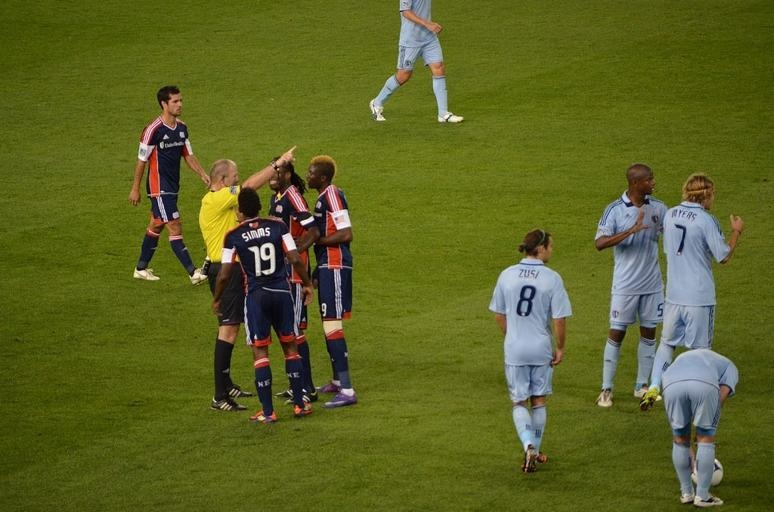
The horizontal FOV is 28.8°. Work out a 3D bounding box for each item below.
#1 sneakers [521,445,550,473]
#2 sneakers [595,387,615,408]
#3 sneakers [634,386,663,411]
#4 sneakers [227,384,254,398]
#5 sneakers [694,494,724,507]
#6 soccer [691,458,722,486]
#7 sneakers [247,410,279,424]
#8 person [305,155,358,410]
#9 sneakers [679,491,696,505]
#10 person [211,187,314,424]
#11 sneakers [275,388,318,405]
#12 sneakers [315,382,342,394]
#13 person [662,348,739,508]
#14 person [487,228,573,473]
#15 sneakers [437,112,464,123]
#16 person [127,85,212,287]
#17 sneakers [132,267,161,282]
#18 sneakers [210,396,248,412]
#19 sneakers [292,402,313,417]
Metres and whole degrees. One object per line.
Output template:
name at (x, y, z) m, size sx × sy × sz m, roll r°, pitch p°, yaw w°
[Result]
sneakers at (2.051, 2.806, 20.840) m, size 0.215 × 0.227 × 0.577 m, roll 10°, pitch 14°, yaw 12°
sneakers at (3.186, 2.077, 22.151) m, size 0.237 × 0.261 × 0.195 m, roll 1°, pitch 6°, yaw 10°
sneakers at (3.825, 1.972, 21.746) m, size 0.526 × 0.207 × 0.238 m, roll -31°, pitch 48°, yaw -33°
sneakers at (-2.215, 2.035, 22.570) m, size 0.473 × 0.160 × 0.141 m, roll 1°, pitch 0°, yaw -2°
sneakers at (4.315, 3.294, 20.313) m, size 0.416 × 0.140 × 0.137 m, roll -3°, pitch 9°, yaw -6°
soccer at (4.301, 2.912, 20.321) m, size 0.400 × 0.291 × 0.348 m, roll 16°, pitch 30°, yaw 36°
sneakers at (-1.805, 2.344, 21.970) m, size 0.438 × 0.158 × 0.152 m, roll 4°, pitch 9°, yaw 12°
person at (-0.800, 0.373, 22.289) m, size 0.604 × 3.685 × 0.611 m, roll -1°, pitch 6°, yaw -12°
sneakers at (4.058, 3.268, 20.321) m, size 0.217 × 0.115 × 0.112 m, roll -7°, pitch 13°, yaw -19°
person at (-1.768, 0.719, 21.789) m, size 1.314 × 3.397 × 0.479 m, roll 0°, pitch 6°, yaw -4°
sneakers at (-1.306, 2.088, 22.470) m, size 0.735 × 0.264 × 0.222 m, roll 2°, pitch 1°, yaw 1°
sneakers at (-0.876, 1.988, 22.659) m, size 0.421 × 0.136 × 0.140 m, roll 1°, pitch 2°, yaw 14°
person at (4.177, 2.313, 20.278) m, size 0.951 × 2.083 × 0.350 m, roll 1°, pitch 6°, yaw 8°
person at (1.995, 1.299, 20.977) m, size 0.682 × 3.328 × 0.782 m, roll -5°, pitch 8°, yaw -39°
sneakers at (1.248, -2.751, 29.848) m, size 0.561 × 0.208 × 0.185 m, roll 0°, pitch 9°, yaw 8°
person at (-3.681, -1.157, 24.992) m, size 1.188 × 3.283 × 1.168 m, roll -2°, pitch 6°, yaw -21°
sneakers at (-4.054, 0.308, 25.397) m, size 0.469 × 0.161 × 0.187 m, roll 3°, pitch 22°, yaw -4°
sneakers at (-2.347, 2.197, 22.267) m, size 0.532 × 0.172 × 0.197 m, roll 2°, pitch 1°, yaw -3°
sneakers at (-1.231, 2.243, 22.100) m, size 0.143 × 0.130 × 0.355 m, roll 5°, pitch 10°, yaw 30°
